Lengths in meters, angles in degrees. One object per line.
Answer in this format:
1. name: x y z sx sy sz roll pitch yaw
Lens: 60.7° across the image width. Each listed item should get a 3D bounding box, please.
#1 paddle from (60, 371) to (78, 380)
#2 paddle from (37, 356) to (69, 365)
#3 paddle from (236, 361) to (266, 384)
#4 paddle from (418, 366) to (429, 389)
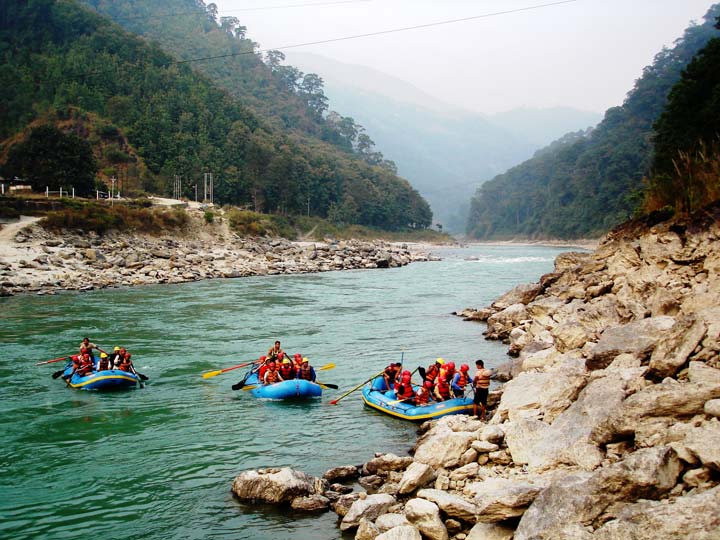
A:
1. paddle: -10.452 3.794 22.020 0.552 0.180 0.542 -3 4 25
2. paddle: -11.783 3.486 23.521 0.804 0.099 0.062 -15 -19 -24
3. paddle: -3.840 3.828 21.916 0.662 0.272 1.122 28 56 26
4. paddle: 2.091 3.579 20.498 0.249 0.732 0.111 7 2 13
